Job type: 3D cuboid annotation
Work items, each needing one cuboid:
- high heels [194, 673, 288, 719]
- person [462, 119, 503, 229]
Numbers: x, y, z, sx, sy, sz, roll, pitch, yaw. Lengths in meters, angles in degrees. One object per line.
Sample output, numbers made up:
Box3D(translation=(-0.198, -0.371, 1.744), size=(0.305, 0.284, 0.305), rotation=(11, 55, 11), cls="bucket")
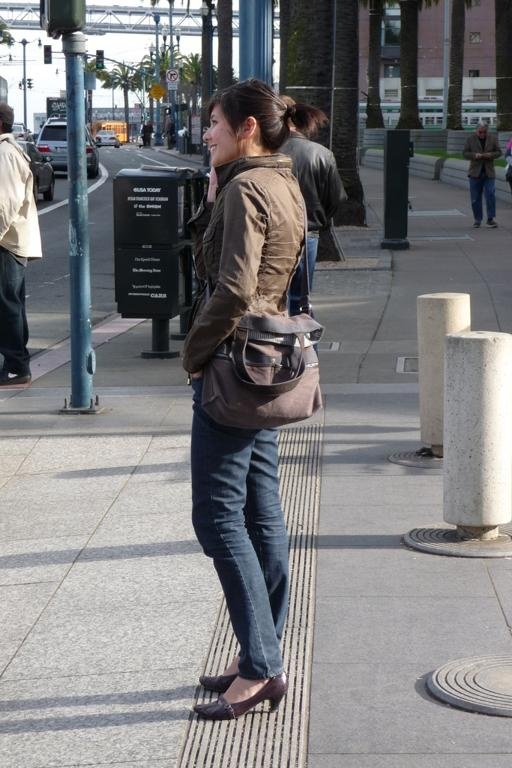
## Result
Box3D(translation=(-0.028, 0.833, 2.609), size=(0.291, 0.136, 0.103), rotation=(0, 8, -3), cls="high heels")
Box3D(translation=(4.391, -4.083, 18.594), size=(0.687, 1.976, 1.072), rotation=(1, 12, 12), cls="person")
